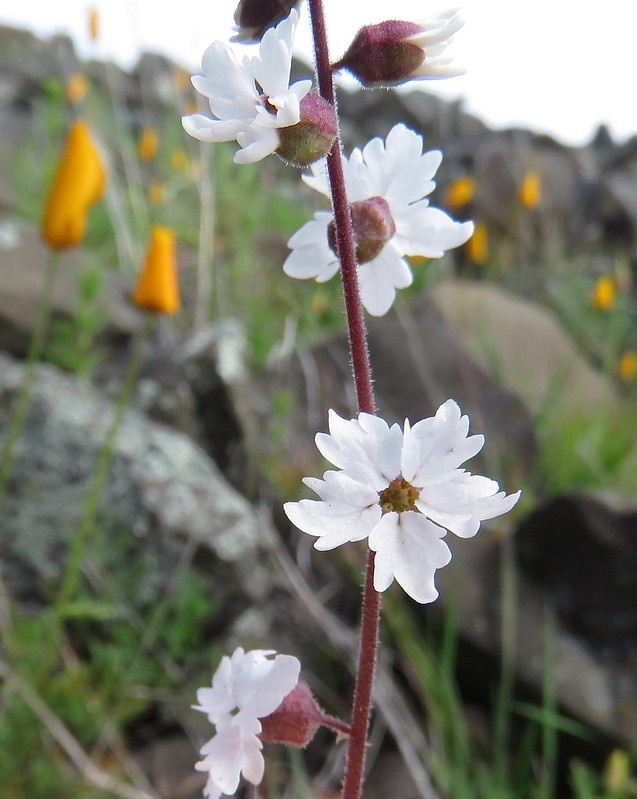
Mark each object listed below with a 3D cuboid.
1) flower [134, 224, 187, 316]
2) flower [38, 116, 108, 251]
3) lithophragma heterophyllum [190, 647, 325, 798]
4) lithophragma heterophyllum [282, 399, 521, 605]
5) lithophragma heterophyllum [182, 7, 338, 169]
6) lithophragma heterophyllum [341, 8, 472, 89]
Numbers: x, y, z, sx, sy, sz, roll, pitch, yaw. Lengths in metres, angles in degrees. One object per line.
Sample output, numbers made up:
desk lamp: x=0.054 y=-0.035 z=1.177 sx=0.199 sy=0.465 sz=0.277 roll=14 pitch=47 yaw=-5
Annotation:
flower: x=-0.155 y=-0.124 z=0.891 sx=0.044 sy=0.080 sz=0.069 roll=4 pitch=16 yaw=-12
flower: x=-0.235 y=-0.212 z=0.930 sx=0.072 sy=0.125 sz=0.044 roll=17 pitch=35 yaw=15
lithophragma heterophyllum: x=-0.054 y=0.269 z=0.803 sx=0.040 sy=0.124 sz=0.120 roll=27 pitch=39 yaw=-28
lithophragma heterophyllum: x=0.076 y=0.069 z=0.683 sx=0.191 sy=0.060 sz=0.183 roll=9 pitch=21 yaw=34
lithophragma heterophyllum: x=-0.040 y=-0.236 z=0.705 sx=0.121 sy=0.111 sz=0.068 roll=5 pitch=17 yaw=-8
lithophragma heterophyllum: x=0.073 y=-0.293 z=0.782 sx=0.125 sy=0.059 sz=0.048 roll=-7 pitch=51 yaw=4
